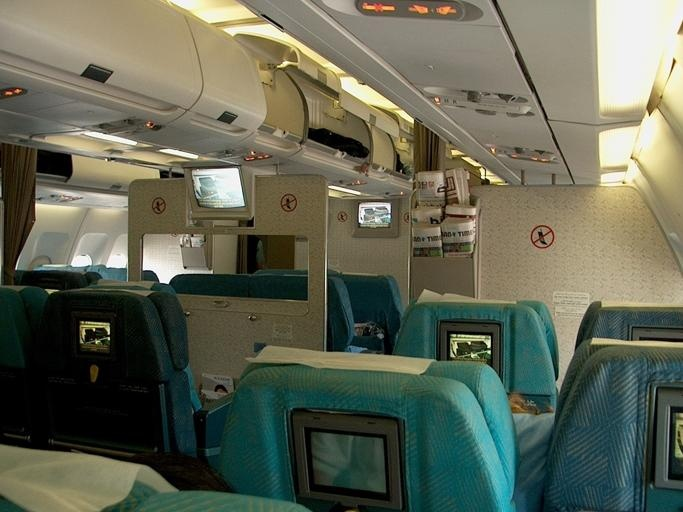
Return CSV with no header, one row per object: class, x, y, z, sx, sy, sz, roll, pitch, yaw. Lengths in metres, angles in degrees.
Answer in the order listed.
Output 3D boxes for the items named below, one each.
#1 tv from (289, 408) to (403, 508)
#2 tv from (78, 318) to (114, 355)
tv,0.019,0.452,1.153,0.312,0.234,0.040,1,15,19
tv,-1.191,0.383,2.452,0.187,0.157,0.095,4,6,12
